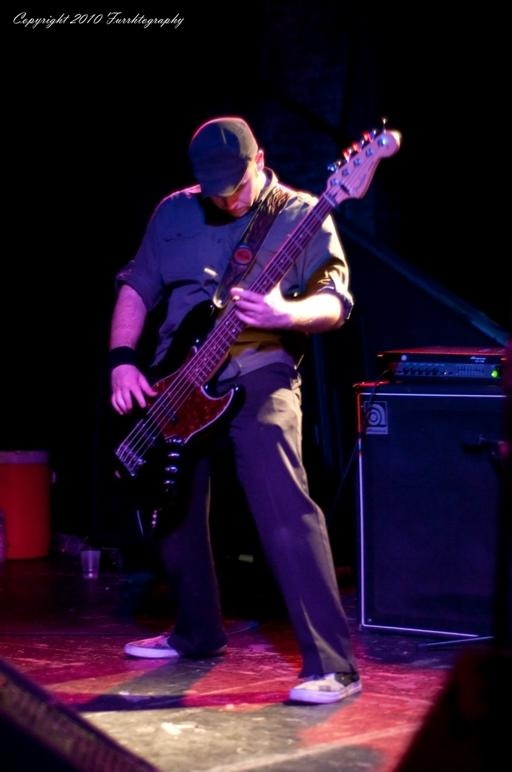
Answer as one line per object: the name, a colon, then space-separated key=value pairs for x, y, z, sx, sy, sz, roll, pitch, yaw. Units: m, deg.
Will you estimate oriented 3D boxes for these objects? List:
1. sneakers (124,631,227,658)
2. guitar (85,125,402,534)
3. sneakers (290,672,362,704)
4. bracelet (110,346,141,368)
sneakers: x=-0.251 y=0.784 z=2.483 sx=0.312 sy=0.089 sz=0.110 roll=3 pitch=-12 yaw=-5
guitar: x=-0.030 y=-0.136 z=2.137 sx=0.773 sy=1.083 sz=0.253 roll=-3 pitch=-6 yaw=30
sneakers: x=0.177 y=0.733 z=1.967 sx=0.180 sy=0.067 sz=0.066 roll=4 pitch=-11 yaw=-32
bracelet: x=-0.373 y=-0.084 z=2.221 sx=0.070 sy=0.050 sz=0.067 roll=-2 pitch=-20 yaw=5
